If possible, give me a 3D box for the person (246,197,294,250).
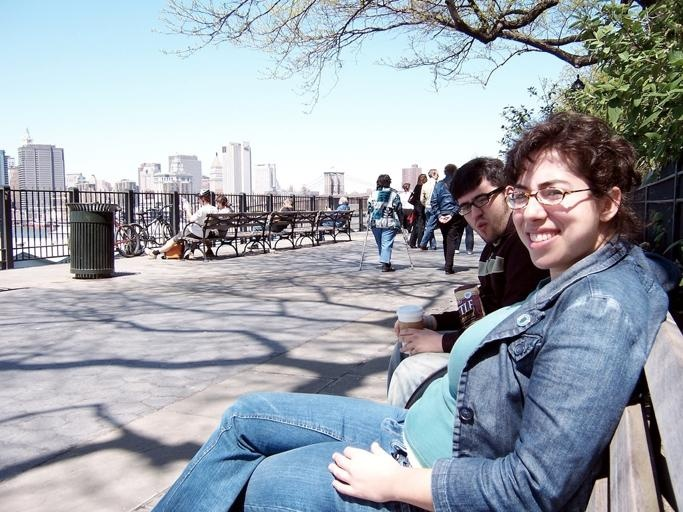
[{"bbox_3d":[-2.743,-1.234,17.908,0.924,1.092,2.589,3,6,16],"label":"person"}]

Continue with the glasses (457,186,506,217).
[{"bbox_3d":[0.798,-0.319,2.723,0.175,0.053,0.168,-39,5,-36],"label":"glasses"}]

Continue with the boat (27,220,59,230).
[{"bbox_3d":[-9.376,-0.956,14.775,0.258,0.322,1.130,1,6,6],"label":"boat"}]
